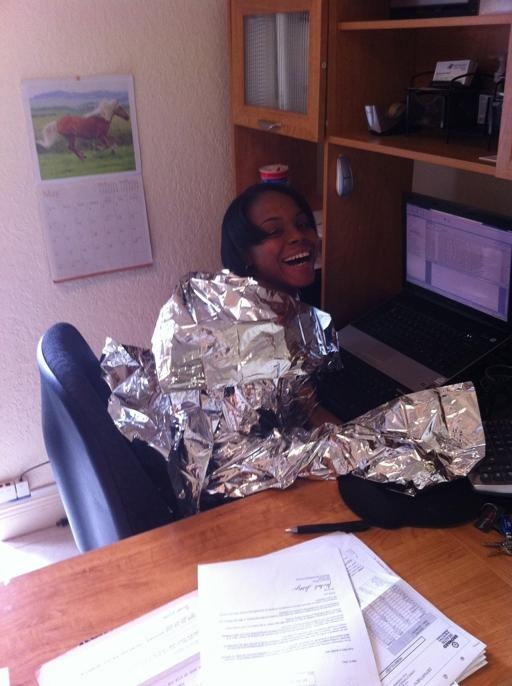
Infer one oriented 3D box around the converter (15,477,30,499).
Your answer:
[{"bbox_3d":[-0.716,0.443,1.638,0.029,0.056,0.039,-13,30,-28],"label":"converter"}]
